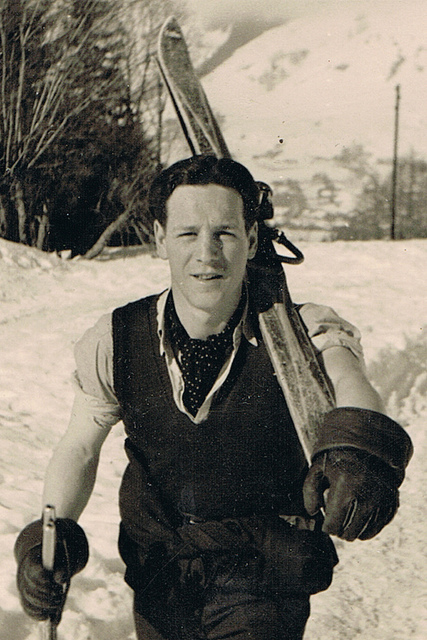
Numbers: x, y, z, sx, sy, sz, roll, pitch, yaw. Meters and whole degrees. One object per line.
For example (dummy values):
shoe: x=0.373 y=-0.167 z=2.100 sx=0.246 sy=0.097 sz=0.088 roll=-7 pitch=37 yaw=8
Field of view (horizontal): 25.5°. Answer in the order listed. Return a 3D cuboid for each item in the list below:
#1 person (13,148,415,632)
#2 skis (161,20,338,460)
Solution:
person: x=0.045 y=0.208 z=2.339 sx=0.885 sy=1.348 sz=0.600 roll=6 pitch=5 yaw=27
skis: x=0.103 y=-0.286 z=2.759 sx=0.190 sy=1.583 sz=0.180 roll=-19 pitch=-21 yaw=1
